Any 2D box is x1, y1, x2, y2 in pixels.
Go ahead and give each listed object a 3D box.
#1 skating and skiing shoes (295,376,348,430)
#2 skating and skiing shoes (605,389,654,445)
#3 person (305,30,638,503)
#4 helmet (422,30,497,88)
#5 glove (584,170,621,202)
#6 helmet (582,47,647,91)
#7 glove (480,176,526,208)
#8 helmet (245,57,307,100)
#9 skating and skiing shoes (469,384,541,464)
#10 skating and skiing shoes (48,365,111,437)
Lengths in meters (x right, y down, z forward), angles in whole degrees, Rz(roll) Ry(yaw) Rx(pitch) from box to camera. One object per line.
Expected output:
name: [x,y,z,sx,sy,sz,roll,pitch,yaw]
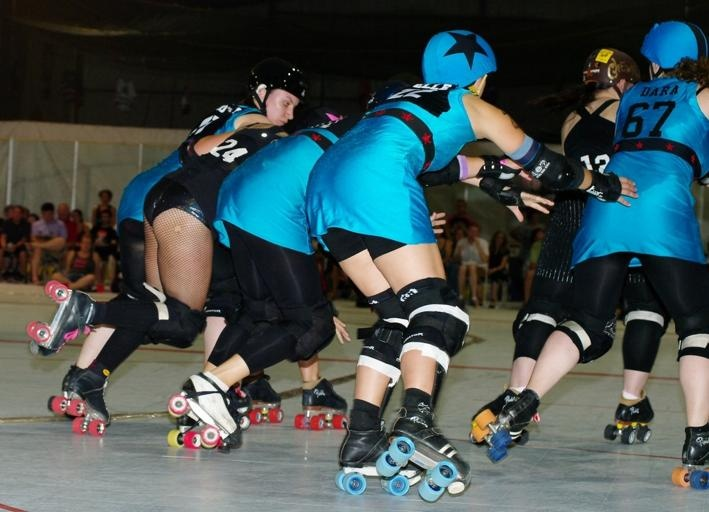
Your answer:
skating and skiing shoes: [-0.157,0.820,4.276,0.204,0.290,0.378,-9,-13,36]
skating and skiing shoes: [1.467,0.867,4.086,0.131,0.247,0.440,3,2,37]
person: [0.407,-0.017,3.363,1.085,1.948,0.740,5,0,-36]
helmet: [0.452,-0.901,3.523,0.380,0.240,0.379,-5,8,31]
glove: [1.133,-0.312,3.490,0.151,0.113,0.063,2,43,-17]
helmet: [1.440,-1.021,4.337,0.262,0.271,0.337,15,20,42]
glove: [0.729,-0.308,3.786,0.206,0.074,0.122,29,24,5]
helmet: [-0.419,-0.949,4.222,0.315,0.259,0.248,0,20,-21]
skating and skiing shoes: [0.689,0.749,3.523,0.177,0.248,0.540,33,2,10]
skating and skiing shoes: [-1.353,0.730,3.926,0.202,0.260,0.369,9,-32,26]
